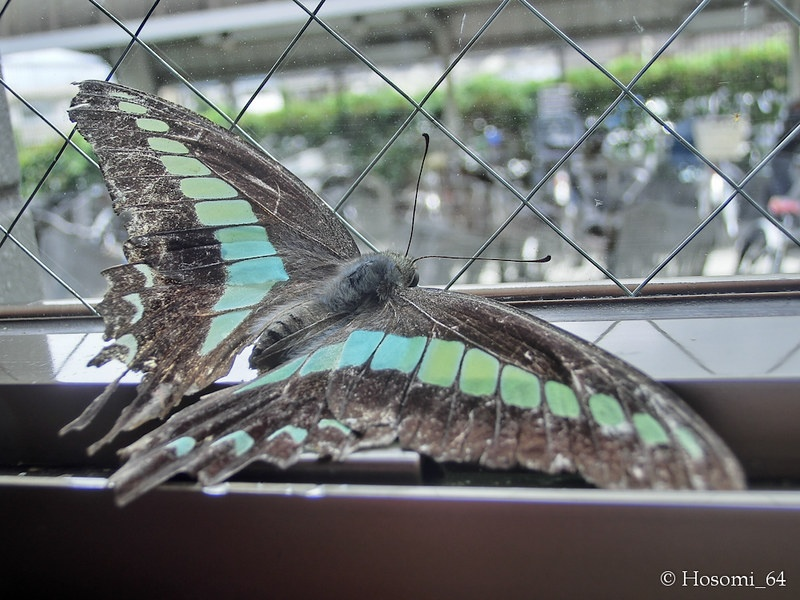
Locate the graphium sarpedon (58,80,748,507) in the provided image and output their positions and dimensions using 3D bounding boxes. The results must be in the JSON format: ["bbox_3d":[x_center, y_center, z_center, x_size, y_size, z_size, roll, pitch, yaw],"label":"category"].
[{"bbox_3d":[-0.077,0.059,1.567,1.021,0.077,0.639,29,56,24],"label":"graphium sarpedon"}]
